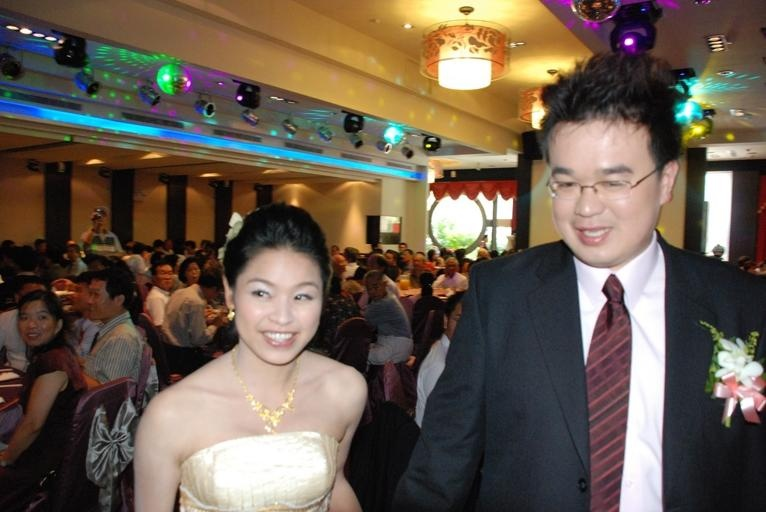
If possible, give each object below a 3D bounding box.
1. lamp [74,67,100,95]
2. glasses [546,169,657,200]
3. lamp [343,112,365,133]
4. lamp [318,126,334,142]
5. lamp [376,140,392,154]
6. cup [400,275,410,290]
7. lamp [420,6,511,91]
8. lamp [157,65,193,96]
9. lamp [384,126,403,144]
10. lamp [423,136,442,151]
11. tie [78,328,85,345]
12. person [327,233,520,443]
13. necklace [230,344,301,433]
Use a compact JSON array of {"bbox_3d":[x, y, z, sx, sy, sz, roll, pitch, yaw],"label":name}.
[{"bbox_3d":[-3.613,-2.178,6.560,0.237,0.335,0.300,0,4,-4],"label":"lamp"},{"bbox_3d":[0.724,-0.237,1.756,0.337,0.097,0.088,1,4,15],"label":"glasses"},{"bbox_3d":[-0.428,-1.991,8.072,0.381,0.267,0.511,-2,0,-1],"label":"lamp"},{"bbox_3d":[-0.984,-2.126,9.213,0.204,0.240,0.388,0,3,4],"label":"lamp"},{"bbox_3d":[0.054,-1.935,9.442,0.146,0.186,0.322,-1,25,-37],"label":"lamp"},{"bbox_3d":[0.398,0.442,8.869,0.204,0.195,0.194,0,-3,0],"label":"cup"},{"bbox_3d":[0.830,-2.121,5.795,0.823,0.664,0.790,10,-15,-32],"label":"lamp"},{"bbox_3d":[-2.386,-2.025,6.121,0.322,0.337,0.395,0,4,2],"label":"lamp"},{"bbox_3d":[0.167,-1.998,8.838,0.304,0.262,0.171,10,1,-9],"label":"lamp"},{"bbox_3d":[0.886,-2.060,9.664,0.280,0.200,0.300,2,35,4],"label":"lamp"},{"bbox_3d":[-2.615,0.720,4.667,0.037,0.092,0.104,-12,-30,-7],"label":"tie"},{"bbox_3d":[0.249,0.868,4.716,1.236,1.656,1.215,0,0,8],"label":"person"},{"bbox_3d":[-0.479,0.526,2.174,0.256,0.334,0.106,-7,-1,-17],"label":"necklace"}]
